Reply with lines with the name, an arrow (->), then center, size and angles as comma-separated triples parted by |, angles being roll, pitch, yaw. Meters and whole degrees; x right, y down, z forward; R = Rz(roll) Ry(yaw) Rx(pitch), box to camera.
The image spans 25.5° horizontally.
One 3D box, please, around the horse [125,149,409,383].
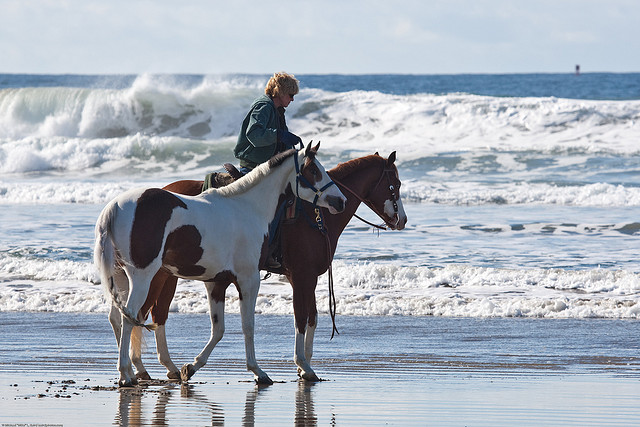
horse -> -1.991, 1.792, 43.952 | 10.102, 6.811, 2.625 | -3, -4, 2
